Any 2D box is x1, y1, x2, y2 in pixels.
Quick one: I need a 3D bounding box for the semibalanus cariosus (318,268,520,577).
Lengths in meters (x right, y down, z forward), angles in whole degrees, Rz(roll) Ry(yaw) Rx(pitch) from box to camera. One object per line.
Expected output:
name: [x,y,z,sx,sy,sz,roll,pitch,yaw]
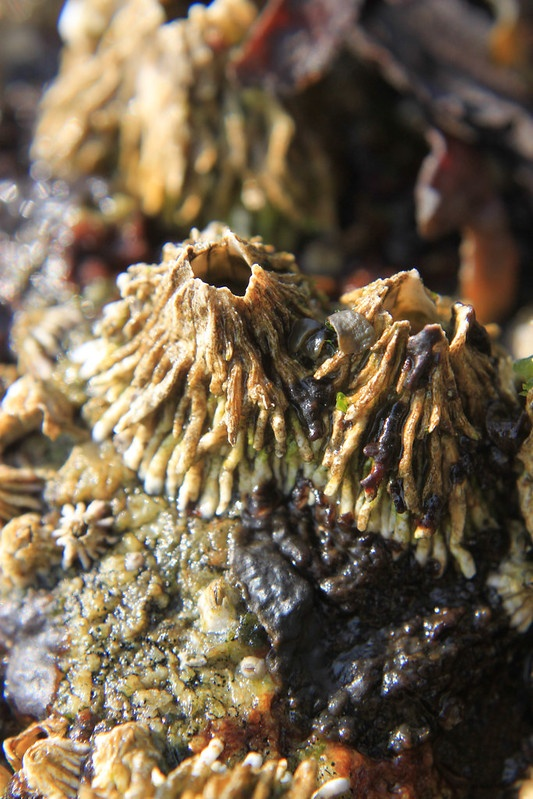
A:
semibalanus cariosus: [0.434,-0.124,2.724,0.444,0.304,0.510,31,58,-23]
